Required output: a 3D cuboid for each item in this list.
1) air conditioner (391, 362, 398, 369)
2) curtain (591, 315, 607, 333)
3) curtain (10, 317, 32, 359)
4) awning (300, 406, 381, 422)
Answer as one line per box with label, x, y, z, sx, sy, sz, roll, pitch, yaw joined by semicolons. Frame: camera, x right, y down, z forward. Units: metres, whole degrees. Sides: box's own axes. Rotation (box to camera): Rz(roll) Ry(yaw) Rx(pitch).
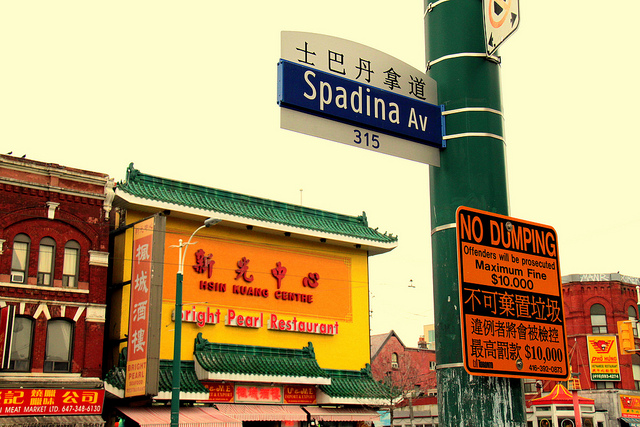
air conditioner;7.153;14.526;74.062;0.234;0.656;1.031;-13;-22;32
curtain;24.860;9.786;68.453;1.530;2.282;0.080;2;-32;8
curtain;-12.652;5.226;32.349;0.965;2.295;0.248;3;13;-21
awning;1.154;10.296;39.841;4.212;0.695;0.858;10;-22;-31
